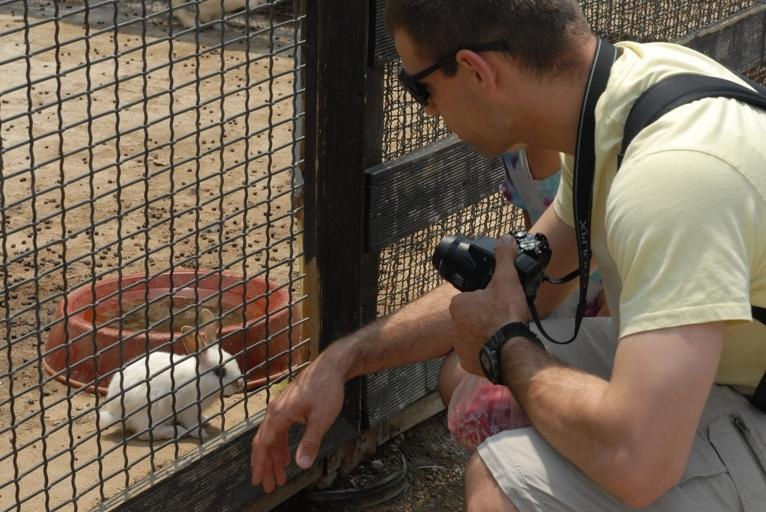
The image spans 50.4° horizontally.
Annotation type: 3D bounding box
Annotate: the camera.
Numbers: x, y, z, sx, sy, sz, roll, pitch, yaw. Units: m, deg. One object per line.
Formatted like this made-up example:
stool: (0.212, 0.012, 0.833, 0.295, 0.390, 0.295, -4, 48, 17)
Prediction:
camera: (0.368, 0.004, 2.742, 0.277, 0.169, 0.281, 18, 26, 40)
